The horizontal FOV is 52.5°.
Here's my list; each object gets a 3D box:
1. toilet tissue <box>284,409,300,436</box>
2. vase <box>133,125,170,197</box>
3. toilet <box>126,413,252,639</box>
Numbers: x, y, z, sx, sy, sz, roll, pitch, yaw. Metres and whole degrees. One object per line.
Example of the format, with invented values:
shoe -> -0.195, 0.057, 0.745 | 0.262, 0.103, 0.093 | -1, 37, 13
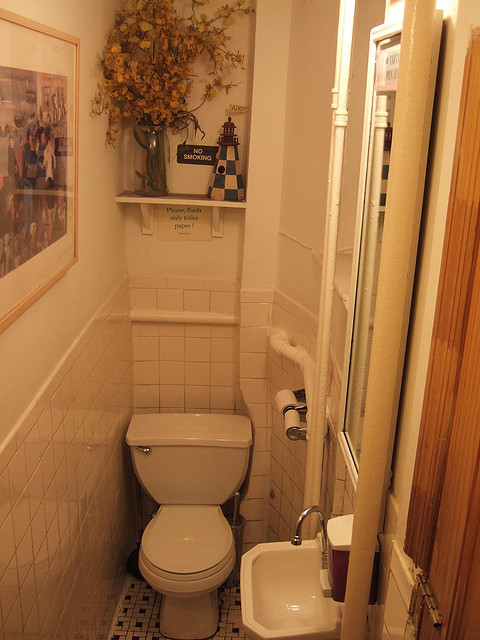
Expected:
toilet tissue -> 0.200, 0.399, 1.875 | 0.059, 0.072, 0.084 | 3, 19, 8
vase -> -0.427, -0.768, 2.339 | 0.183, 0.323, 0.226 | -2, 17, -9
toilet -> -0.262, 1.011, 2.519 | 0.544, 1.242, 0.815 | 1, 7, -1
